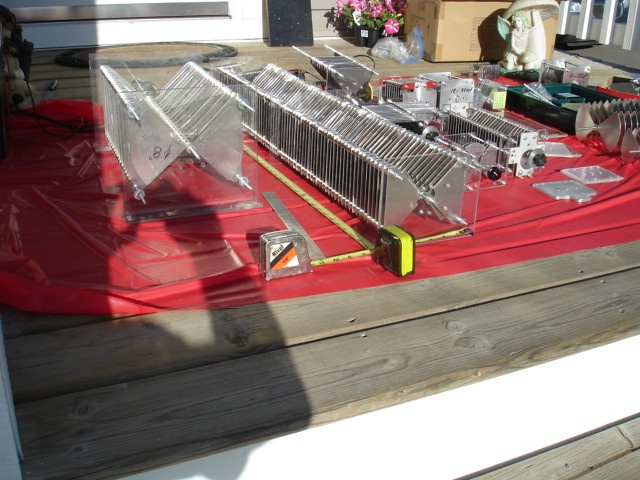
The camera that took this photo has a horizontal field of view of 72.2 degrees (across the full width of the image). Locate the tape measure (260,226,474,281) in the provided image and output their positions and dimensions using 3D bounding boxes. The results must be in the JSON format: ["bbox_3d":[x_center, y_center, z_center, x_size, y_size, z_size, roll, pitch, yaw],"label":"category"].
[{"bbox_3d":[0.091,0.057,1.918,0.640,0.107,0.287,-10,21,-25],"label":"tape measure"}]

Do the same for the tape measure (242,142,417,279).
[{"bbox_3d":[0.038,-0.180,2.295,0.530,0.138,1.216,-22,37,-33],"label":"tape measure"}]

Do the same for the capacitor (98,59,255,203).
[{"bbox_3d":[-0.908,-0.710,2.620,0.631,0.400,0.917,-15,42,-25],"label":"capacitor"}]

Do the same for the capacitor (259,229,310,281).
[{"bbox_3d":[-0.157,0.063,1.898,0.210,0.200,0.095,-12,34,-18],"label":"capacitor"}]
